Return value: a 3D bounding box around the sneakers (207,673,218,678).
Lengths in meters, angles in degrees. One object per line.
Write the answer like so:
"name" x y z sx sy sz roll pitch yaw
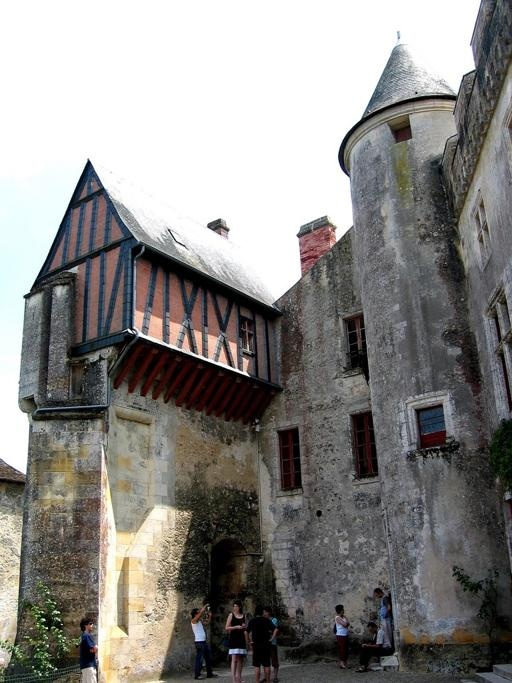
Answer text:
"sneakers" -0.702 5.369 10.432 0.159 0.068 0.490 -4 -21 -5

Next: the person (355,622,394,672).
"person" 1.762 4.620 9.836 0.546 0.706 0.328 6 -10 -4

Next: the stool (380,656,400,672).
"stool" 1.911 4.657 9.404 0.273 0.164 0.242 -12 -22 17
